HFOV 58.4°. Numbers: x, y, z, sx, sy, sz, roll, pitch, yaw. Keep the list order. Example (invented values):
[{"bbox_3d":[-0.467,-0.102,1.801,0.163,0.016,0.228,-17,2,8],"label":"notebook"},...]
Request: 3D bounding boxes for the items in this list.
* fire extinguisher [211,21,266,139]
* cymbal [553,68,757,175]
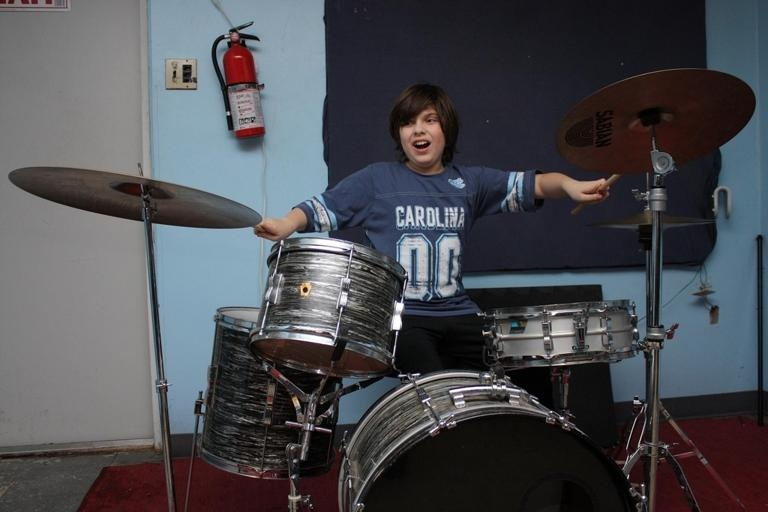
[{"bbox_3d":[-0.848,-1.003,3.999,0.302,0.608,0.125,1,5,-10],"label":"fire extinguisher"},{"bbox_3d":[1.227,-0.607,3.171,0.844,0.428,0.446,3,4,11],"label":"cymbal"}]
